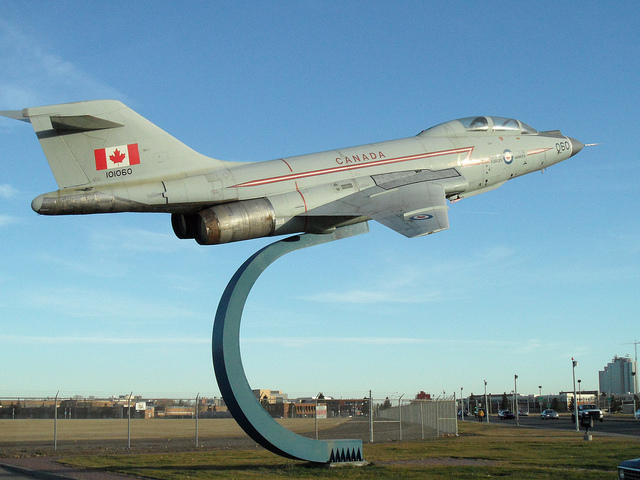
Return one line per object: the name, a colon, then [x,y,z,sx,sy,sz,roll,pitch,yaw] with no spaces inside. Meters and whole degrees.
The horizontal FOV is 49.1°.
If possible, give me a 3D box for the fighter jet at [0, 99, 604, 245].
fighter jet: [0.906,-2.403,24.241,21.868,5.721,4.684,1,-13,-12]
